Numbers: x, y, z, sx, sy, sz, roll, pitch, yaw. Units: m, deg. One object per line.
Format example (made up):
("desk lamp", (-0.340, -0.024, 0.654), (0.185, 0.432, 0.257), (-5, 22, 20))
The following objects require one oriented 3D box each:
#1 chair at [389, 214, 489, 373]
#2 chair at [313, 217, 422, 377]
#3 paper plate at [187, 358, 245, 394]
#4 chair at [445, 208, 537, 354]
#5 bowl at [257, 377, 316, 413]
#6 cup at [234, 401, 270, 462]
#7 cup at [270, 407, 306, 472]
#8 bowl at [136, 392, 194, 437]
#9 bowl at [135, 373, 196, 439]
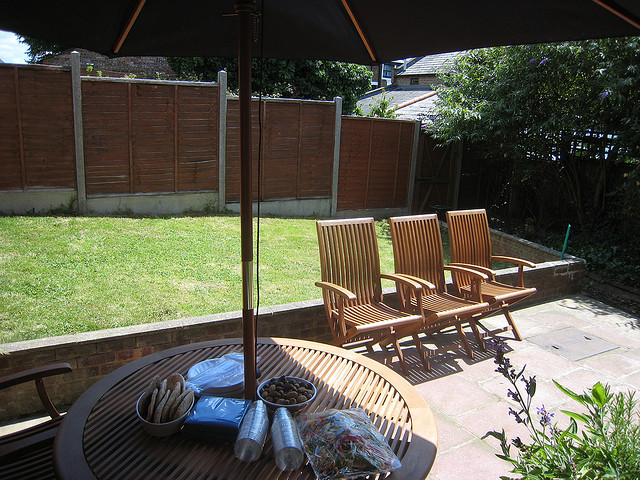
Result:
("chair", (1.122, 0.466, 4.226), (0.850, 1.262, 0.974), (-11, 17, -34))
("chair", (0.394, 0.515, 3.800), (0.833, 1.248, 0.968), (-10, 17, -38))
("paper plate", (-0.489, 0.660, 2.100), (0.168, 0.037, 0.163), (-4, 14, -20))
("chair", (1.806, 0.424, 4.696), (0.879, 1.315, 0.979), (-15, 20, -41))
("bowl", (-0.159, 0.727, 2.016), (0.175, 0.060, 0.170), (2, 14, -1))
("cup", (-0.286, 0.798, 1.879), (0.102, 0.098, 0.230), (11, 24, -4))
("cup", (-0.132, 0.842, 1.842), (0.138, 0.195, 0.175), (-2, 11, -8))
("bowl", (-0.656, 0.797, 2.006), (0.236, 0.088, 0.252), (-16, 13, 4))
("bowl", (-0.690, 0.747, 1.955), (0.264, 0.225, 0.199), (-4, 12, -18))
